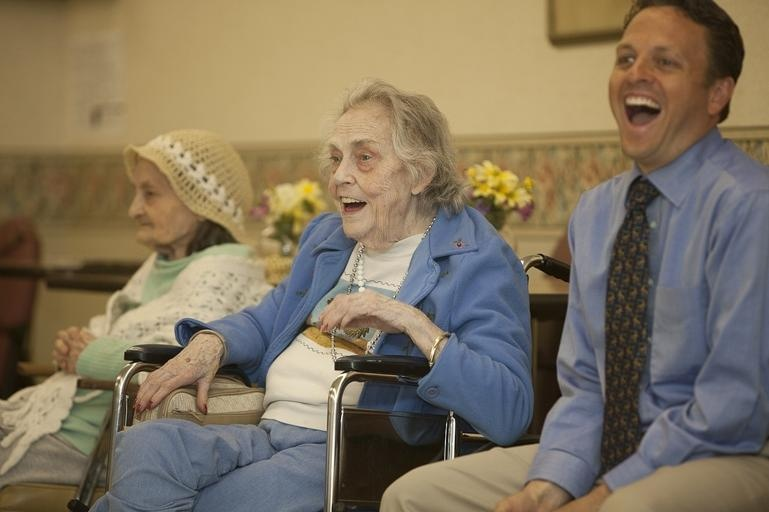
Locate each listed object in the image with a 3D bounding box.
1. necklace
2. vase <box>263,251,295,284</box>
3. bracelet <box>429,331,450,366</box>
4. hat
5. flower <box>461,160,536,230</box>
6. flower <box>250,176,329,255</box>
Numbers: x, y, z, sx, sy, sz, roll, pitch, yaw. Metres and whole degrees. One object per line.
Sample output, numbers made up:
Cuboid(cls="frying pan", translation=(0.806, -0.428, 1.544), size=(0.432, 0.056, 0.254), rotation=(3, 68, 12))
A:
Cuboid(cls="necklace", translation=(0.004, 0.105, 3.072), size=(0.376, 0.476, 0.136), rotation=(-3, -18, 42))
Cuboid(cls="vase", translation=(-0.545, 0.049, 4.260), size=(0.166, 0.164, 0.168), rotation=(0, 5, -27))
Cuboid(cls="bracelet", translation=(0.183, 0.307, 2.899), size=(0.036, 0.095, 0.080), rotation=(28, -15, 16))
Cuboid(cls="hat", translation=(-0.870, -0.331, 3.888), size=(0.535, 0.291, 0.422), rotation=(31, -17, -10))
Cuboid(cls="flower", translation=(0.505, -0.313, 4.244), size=(0.324, 0.255, 0.337), rotation=(6, 30, -4))
Cuboid(cls="flower", translation=(-0.532, -0.247, 4.830), size=(0.418, 0.456, 0.441), rotation=(12, 2, -4))
